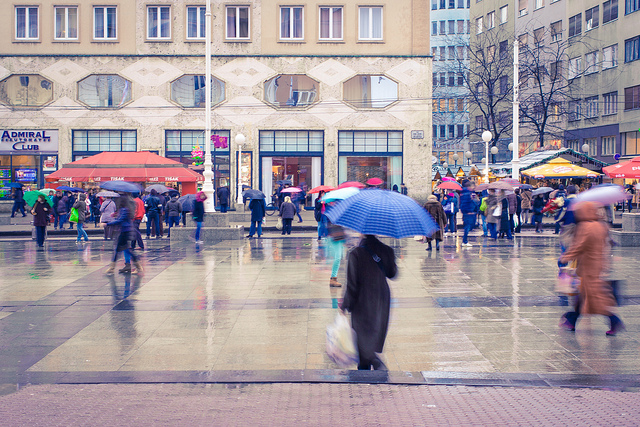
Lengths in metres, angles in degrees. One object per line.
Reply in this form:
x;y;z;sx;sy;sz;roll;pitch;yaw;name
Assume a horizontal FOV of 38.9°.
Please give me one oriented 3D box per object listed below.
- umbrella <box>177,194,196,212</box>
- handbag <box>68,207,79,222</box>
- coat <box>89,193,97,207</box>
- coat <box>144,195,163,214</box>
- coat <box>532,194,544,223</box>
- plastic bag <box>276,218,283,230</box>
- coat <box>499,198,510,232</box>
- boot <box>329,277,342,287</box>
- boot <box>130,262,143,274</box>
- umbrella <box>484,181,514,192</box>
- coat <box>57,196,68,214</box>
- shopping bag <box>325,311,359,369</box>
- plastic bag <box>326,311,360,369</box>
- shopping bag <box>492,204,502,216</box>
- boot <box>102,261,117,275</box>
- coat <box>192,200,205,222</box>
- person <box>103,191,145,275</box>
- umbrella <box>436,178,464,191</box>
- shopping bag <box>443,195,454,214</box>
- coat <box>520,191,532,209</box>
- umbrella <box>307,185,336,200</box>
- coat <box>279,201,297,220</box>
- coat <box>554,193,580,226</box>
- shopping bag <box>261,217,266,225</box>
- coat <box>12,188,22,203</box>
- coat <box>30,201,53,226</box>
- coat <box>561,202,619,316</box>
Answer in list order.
-6.181;-0.486;42.051;0.785;0.733;1.549;-1;3;-8;umbrella
-10.978;0.015;40.567;0.768;0.622;0.295;1;5;18;handbag
-11.208;-0.697;44.988;0.258;0.588;0.557;-1;3;-13;coat
-7.339;-0.389;40.168;0.844;0.831;0.509;2;26;-1;coat
10.030;-0.229;41.789;0.450;1.284;0.865;0;3;11;coat
-1.803;0.464;40.811;0.335;0.241;0.543;8;-25;1;plastic bag
7.834;0.002;38.719;0.395;1.339;0.351;-2;3;-24;coat
0.510;2.219;29.567;0.407;0.290;0.296;-1;3;1;boot
-6.310;1.851;31.260;0.423;0.394;0.403;9;-12;-39;boot
7.421;-1.158;37.786;1.052;0.398;0.762;0;3;18;umbrella
-12.295;-0.425;43.560;0.372;0.766;0.574;1;3;24;coat
0.649;3.326;24.469;0.882;1.499;1.063;1;-10;-16;shopping bag
0.585;3.400;24.586;1.257;1.281;0.919;0;0;13;plastic bag
7.414;-0.168;38.103;0.346;0.473;0.721;0;3;15;shopping bag
-7.209;1.860;31.083;0.425;0.405;0.386;-1;3;-13;boot
-5.073;-0.124;37.844;0.466;0.920;0.399;-1;3;1;coat
-6.644;0.633;31.178;1.020;2.826;1.165;1;4;28;person
6.053;-1.336;42.326;0.876;0.360;1.207;1;3;27;umbrella
5.661;-0.340;39.964;0.712;0.836;0.480;0;-11;2;shopping bag
10.221;-0.686;45.218;0.486;0.871;0.663;0;3;12;coat
0.038;-0.906;37.345;1.307;0.680;1.191;-1;-5;-4;umbrella
-1.480;-0.123;40.508;0.886;0.773;0.424;-2;3;-28;coat
8.061;-0.161;29.703;0.580;0.577;1.312;12;52;33;coat
-2.695;0.326;43.228;0.298;0.333;0.367;0;22;3;shopping bag
-16.363;-1.008;49.291;0.350;0.788;0.570;-2;3;-17;coat
-11.448;0.005;37.357;0.710;0.960;0.510;-1;3;-9;coat
7.657;1.312;26.047;1.937;3.258;1.215;-2;12;-1;coat
